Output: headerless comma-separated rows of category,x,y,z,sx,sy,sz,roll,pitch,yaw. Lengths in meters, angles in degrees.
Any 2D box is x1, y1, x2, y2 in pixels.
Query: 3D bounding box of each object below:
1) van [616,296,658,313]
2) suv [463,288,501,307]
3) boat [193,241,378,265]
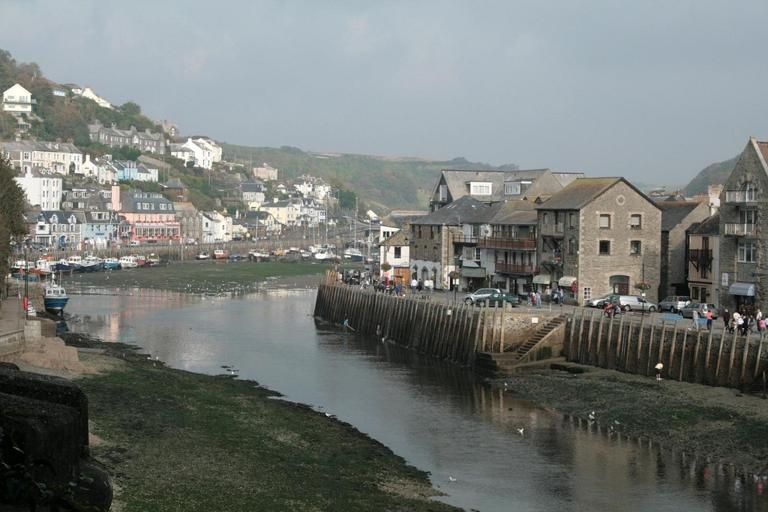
van,23.504,4.544,110.329,3.441,1.097,1.563,-1,5,-5
suv,9.850,3.967,116.891,3.185,1.366,1.610,2,-3,2
boat,-21.338,-0.488,240.785,8.135,4.468,26.403,2,0,-44
